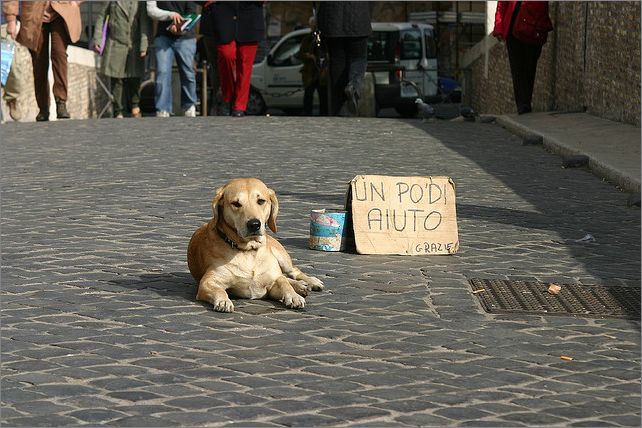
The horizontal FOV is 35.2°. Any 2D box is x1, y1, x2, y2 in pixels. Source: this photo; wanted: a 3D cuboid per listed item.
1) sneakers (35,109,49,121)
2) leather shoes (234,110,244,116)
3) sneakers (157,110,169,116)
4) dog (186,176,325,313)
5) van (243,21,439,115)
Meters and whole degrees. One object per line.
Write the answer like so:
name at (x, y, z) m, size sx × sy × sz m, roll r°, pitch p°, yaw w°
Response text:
sneakers at (-5.076, -1.834, 18.564) m, size 0.212 × 0.209 × 0.591 m, roll -5°, pitch 5°, yaw -25°
leather shoes at (-1.434, -1.774, 17.431) m, size 0.173 × 0.052 × 0.179 m, roll 0°, pitch -1°, yaw 1°
sneakers at (-2.830, -1.833, 18.033) m, size 0.188 × 0.068 × 0.234 m, roll 1°, pitch 2°, yaw -9°
dog at (-0.500, 0.196, 7.260) m, size 0.905 × 0.924 × 0.744 m, roll -1°, pitch 12°, yaw -6°
van at (-0.005, -3.665, 24.753) m, size 5.285 × 1.679 × 2.504 m, roll 3°, pitch 11°, yaw 13°
